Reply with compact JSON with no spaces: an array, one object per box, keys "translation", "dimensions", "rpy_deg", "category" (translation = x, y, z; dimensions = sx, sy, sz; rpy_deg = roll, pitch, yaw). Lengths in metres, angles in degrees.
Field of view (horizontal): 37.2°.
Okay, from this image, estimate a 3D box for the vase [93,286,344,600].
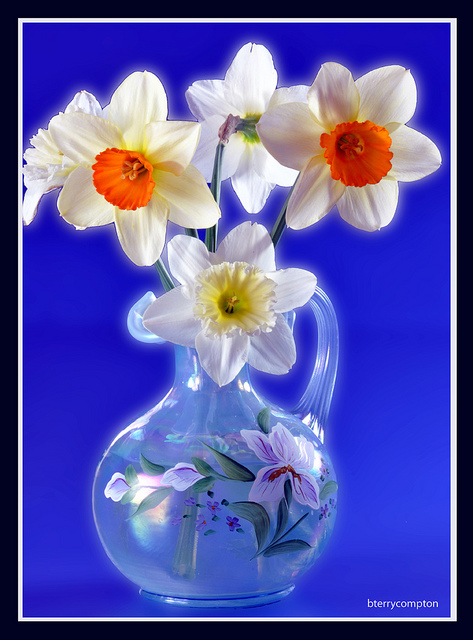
[{"translation":[-0.001,0.133,0.863],"dimensions":[0.255,0.259,0.374],"rpy_deg":[-5,-91,16],"category":"vase"}]
